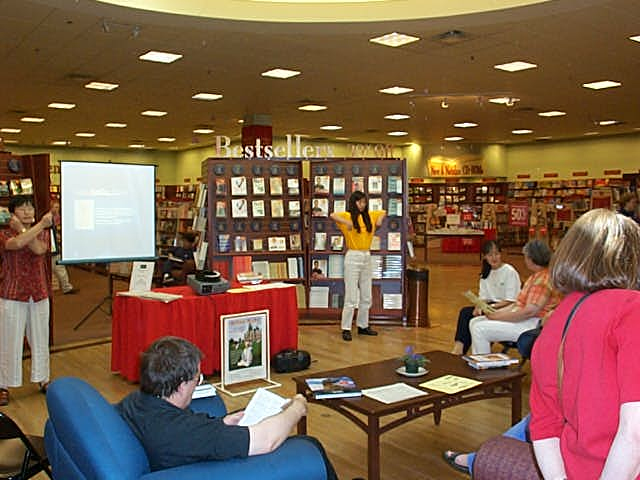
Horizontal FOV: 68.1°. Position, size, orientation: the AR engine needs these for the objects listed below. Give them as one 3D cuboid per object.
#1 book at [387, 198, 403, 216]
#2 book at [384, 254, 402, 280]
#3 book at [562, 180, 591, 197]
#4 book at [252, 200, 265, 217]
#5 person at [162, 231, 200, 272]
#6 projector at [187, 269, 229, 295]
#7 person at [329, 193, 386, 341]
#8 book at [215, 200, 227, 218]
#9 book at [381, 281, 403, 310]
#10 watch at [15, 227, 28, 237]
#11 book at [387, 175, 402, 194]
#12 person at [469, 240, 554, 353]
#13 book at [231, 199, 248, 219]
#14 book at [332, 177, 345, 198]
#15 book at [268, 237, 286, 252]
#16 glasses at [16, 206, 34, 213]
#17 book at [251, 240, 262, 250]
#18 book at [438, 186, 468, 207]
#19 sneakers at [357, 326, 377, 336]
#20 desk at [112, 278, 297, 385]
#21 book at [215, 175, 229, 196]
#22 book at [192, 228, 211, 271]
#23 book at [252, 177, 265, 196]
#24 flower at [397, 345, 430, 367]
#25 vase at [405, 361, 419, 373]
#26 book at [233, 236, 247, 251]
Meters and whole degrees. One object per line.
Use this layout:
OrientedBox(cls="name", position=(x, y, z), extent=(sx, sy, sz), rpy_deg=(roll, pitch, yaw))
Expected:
OrientedBox(cls="book", position=(1.179, -0.529, 7.509), extent=(0.274, 0.236, 0.066), rpy_deg=(-3, -1, -7))
OrientedBox(cls="book", position=(1.146, 0.423, 7.540), extent=(0.305, 0.382, 0.055), rpy_deg=(0, 1, 6))
OrientedBox(cls="book", position=(9.982, -2.065, 18.426), extent=(0.374, 0.600, 1.054), rpy_deg=(0, 0, -26))
OrientedBox(cls="book", position=(-0.987, -0.498, 7.443), extent=(0.163, 0.280, 0.066), rpy_deg=(0, 1, -29))
OrientedBox(cls="person", position=(-2.980, 0.341, 9.933), extent=(0.751, 0.932, 0.687), rpy_deg=(8, 1, 20))
OrientedBox(cls="projector", position=(-1.231, 0.409, 5.088), extent=(0.333, 0.152, 0.305), rpy_deg=(0, 8, -43))
OrientedBox(cls="person", position=(0.559, 0.357, 6.871), extent=(0.665, 2.094, 0.859), rpy_deg=(1, 1, 13))
OrientedBox(cls="book", position=(-1.518, -0.476, 7.277), extent=(0.186, 0.250, 0.071), rpy_deg=(0, 1, -44))
OrientedBox(cls="book", position=(1.142, 0.886, 7.570), extent=(0.497, 0.564, 0.333), rpy_deg=(0, -8, 0))
OrientedBox(cls="watch", position=(-2.835, -0.088, 4.529), extent=(0.125, 0.079, 0.117), rpy_deg=(-5, -10, -40))
OrientedBox(cls="book", position=(1.184, -0.883, 7.529), extent=(0.233, 0.278, 0.082), rpy_deg=(0, 1, 2))
OrientedBox(cls="person", position=(1.866, 0.692, 4.657), extent=(0.941, 1.348, 0.598), rpy_deg=(-3, 7, 11))
OrientedBox(cls="book", position=(-1.274, -0.495, 7.342), extent=(0.220, 0.285, 0.085), rpy_deg=(0, 1, -20))
OrientedBox(cls="book", position=(0.282, -0.863, 7.567), extent=(0.257, 0.307, 0.087), rpy_deg=(-1, -1, -2))
OrientedBox(cls="book", position=(-0.716, 0.062, 7.534), extent=(0.263, 0.190, 0.034), rpy_deg=(2, -8, -13))
OrientedBox(cls="glasses", position=(-2.830, -0.302, 4.548), extent=(0.049, 0.072, 0.154), rpy_deg=(1, 1, 33))
OrientedBox(cls="book", position=(-0.994, 0.071, 7.457), extent=(0.183, 0.147, 0.041), rpy_deg=(4, -4, -24))
OrientedBox(cls="book", position=(5.631, -1.908, 20.255), extent=(1.442, 0.875, 0.799), rpy_deg=(0, 1, 0))
OrientedBox(cls="sneakers", position=(0.677, 1.333, 6.961), extent=(0.305, 0.111, 0.106), rpy_deg=(0, 0, 7))
OrientedBox(cls="desk", position=(-1.270, 0.975, 5.323), extent=(2.292, 0.915, 0.797), rpy_deg=(-2, 3, 5))
OrientedBox(cls="book", position=(-1.517, -0.814, 7.223), extent=(0.200, 0.236, 0.068), rpy_deg=(-3, -1, -18))
OrientedBox(cls="book", position=(-1.923, 0.171, 7.668), extent=(0.178, 0.701, 0.819), rpy_deg=(3, -7, -17))
OrientedBox(cls="book", position=(-0.982, -0.857, 7.430), extent=(0.279, 0.231, 0.061), rpy_deg=(-5, 3, -31))
OrientedBox(cls="flower", position=(0.713, 0.865, 3.551), extent=(0.238, 0.127, 0.220), rpy_deg=(3, -4, 1))
OrientedBox(cls="vase", position=(0.665, 0.925, 3.455), extent=(0.095, 0.061, 0.091), rpy_deg=(2, -4, -28))
OrientedBox(cls="book", position=(-1.272, 0.050, 7.379), extent=(0.268, 0.232, 0.136), rpy_deg=(0, 5, -12))
